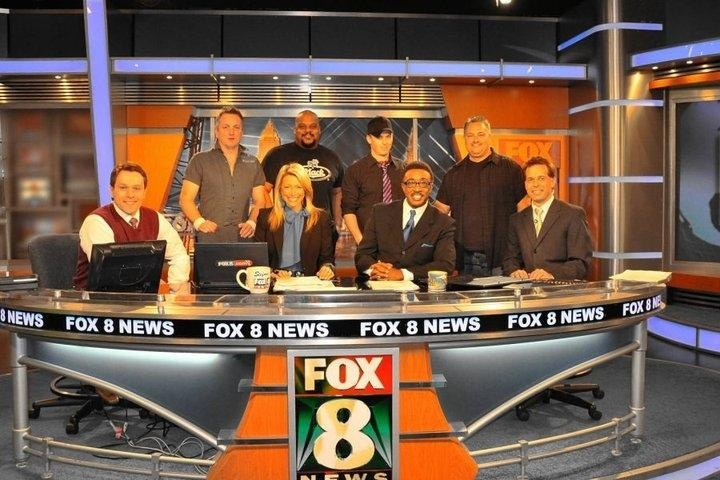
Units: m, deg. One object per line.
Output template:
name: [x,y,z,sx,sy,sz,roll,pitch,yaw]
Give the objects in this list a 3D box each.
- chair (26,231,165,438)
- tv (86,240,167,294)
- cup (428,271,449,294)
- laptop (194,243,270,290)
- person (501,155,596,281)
chair: [-2.148,0.803,5.530,1.170,1.424,1.094,0,5,-1]
tv: [-1.658,0.198,4.747,0.399,0.369,0.126,4,17,-28]
cup: [0.583,0.314,4.956,0.159,0.125,0.143,1,-3,-7]
laptop: [-1.028,0.093,5.212,0.562,0.360,0.373,1,11,-4]
person: [1.599,-0.185,5.698,0.729,1.011,0.363,0,8,12]
